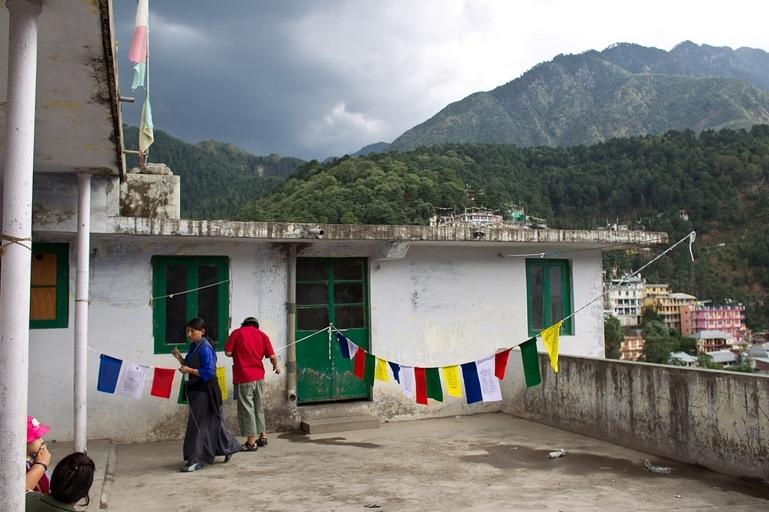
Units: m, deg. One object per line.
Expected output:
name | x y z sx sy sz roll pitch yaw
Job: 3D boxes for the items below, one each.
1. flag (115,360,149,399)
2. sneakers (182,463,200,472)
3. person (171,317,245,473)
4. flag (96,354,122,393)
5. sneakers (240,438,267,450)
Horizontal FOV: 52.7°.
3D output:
flag | -3.423 1.679 10.504 0.376 0.465 0.198 3 10 17
sneakers | -2.493 2.754 10.062 0.255 0.106 0.093 5 -10 -24
person | -2.337 1.812 10.116 0.735 1.979 0.459 -4 10 -16
flag | -3.767 1.633 10.595 0.631 0.509 0.049 0 -1 28
sneakers | -1.827 2.671 10.932 0.365 0.154 0.132 7 -14 -34
